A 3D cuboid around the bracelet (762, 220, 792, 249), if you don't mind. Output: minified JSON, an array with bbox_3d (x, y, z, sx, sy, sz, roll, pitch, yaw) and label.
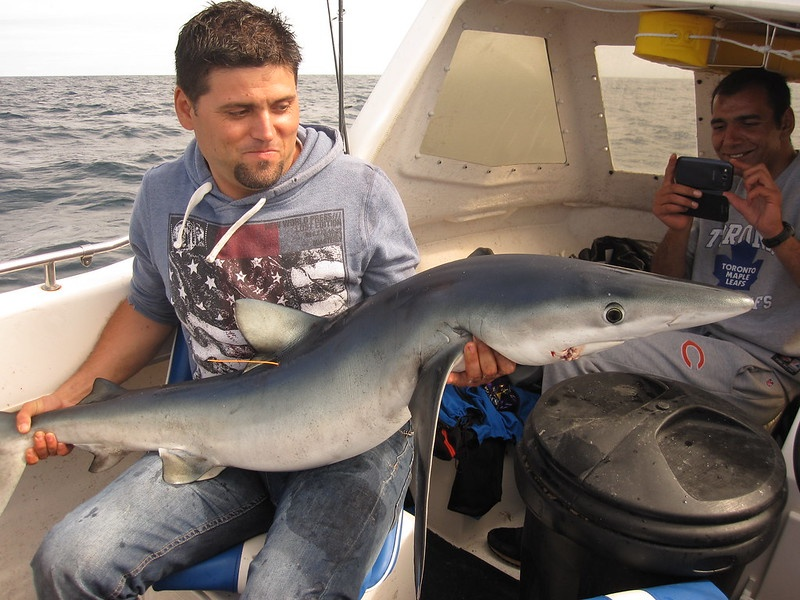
[{"bbox_3d":[1.590,-0.271,2.586,0.119,0.110,0.077,3,16,15],"label":"bracelet"}]

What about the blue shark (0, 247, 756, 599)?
[{"bbox_3d":[-0.021,0.389,2.246,2.230,0.677,1.081,-15,24,12],"label":"blue shark"}]

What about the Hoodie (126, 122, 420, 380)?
[{"bbox_3d":[-0.477,-0.142,2.464,1.323,1.003,0.496,8,28,14],"label":"Hoodie"}]

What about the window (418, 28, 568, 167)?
[{"bbox_3d":[0.569,-1.145,3.502,1.247,0.727,0.066,-13,20,-41],"label":"window"}]
